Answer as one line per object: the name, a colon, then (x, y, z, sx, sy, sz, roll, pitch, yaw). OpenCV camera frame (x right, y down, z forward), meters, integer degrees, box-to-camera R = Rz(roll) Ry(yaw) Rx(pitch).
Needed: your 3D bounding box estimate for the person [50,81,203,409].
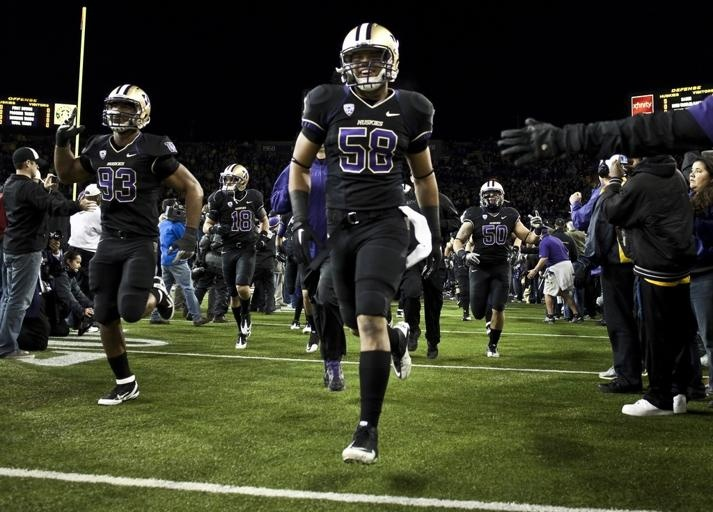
person: (-1.956, -0.128, 5.554, 1.221, 2.688, 0.624, 0, -2, -11)

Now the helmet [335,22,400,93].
helmet: (0.094, -1.427, 4.682, 0.426, 0.441, 0.530, 1, 13, 15)

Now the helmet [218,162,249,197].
helmet: (-1.817, -1.181, 9.809, 0.372, 0.377, 0.467, 5, 17, 16)

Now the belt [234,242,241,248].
belt: (-1.728, -0.150, 9.478, 0.097, 0.065, 0.030, 0, -2, 28)

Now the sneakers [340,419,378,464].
sneakers: (0.032, 1.169, 4.006, 0.193, 0.287, 0.256, 0, -2, 6)

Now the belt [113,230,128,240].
belt: (-1.980, -0.176, 5.463, 0.073, 0.028, 0.069, 26, -17, -35)

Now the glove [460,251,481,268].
glove: (1.512, 0.018, 8.607, 0.211, 0.149, 0.077, 21, 34, 29)

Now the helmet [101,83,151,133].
helmet: (-2.033, -1.244, 5.604, 0.342, 0.358, 0.426, 1, -2, -23)

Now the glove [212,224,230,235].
glove: (-2.002, -0.385, 9.545, 0.134, 0.160, 0.363, 2, -2, -41)

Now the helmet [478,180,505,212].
helmet: (1.889, -0.856, 9.053, 0.330, 0.368, 0.440, -4, 2, 8)

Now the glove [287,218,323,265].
glove: (-0.316, -0.091, 4.641, 0.170, 0.404, 0.303, 4, -8, -21)

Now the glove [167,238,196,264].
glove: (-2.019, -0.059, 7.399, 0.350, 0.430, 0.146, 2, -7, 0)

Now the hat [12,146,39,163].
hat: (-3.797, -1.149, 7.526, 0.207, 0.155, 0.301, 17, 28, 38)

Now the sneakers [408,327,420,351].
sneakers: (0.739, 1.060, 8.276, 0.110, 0.321, 0.142, -3, -3, 0)

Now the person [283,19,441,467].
person: (0.024, -0.181, 4.449, 1.088, 2.916, 1.032, 0, -2, 5)

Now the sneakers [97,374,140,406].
sneakers: (-1.980, 1.111, 5.467, 0.395, 0.209, 0.256, 1, -2, -39)
